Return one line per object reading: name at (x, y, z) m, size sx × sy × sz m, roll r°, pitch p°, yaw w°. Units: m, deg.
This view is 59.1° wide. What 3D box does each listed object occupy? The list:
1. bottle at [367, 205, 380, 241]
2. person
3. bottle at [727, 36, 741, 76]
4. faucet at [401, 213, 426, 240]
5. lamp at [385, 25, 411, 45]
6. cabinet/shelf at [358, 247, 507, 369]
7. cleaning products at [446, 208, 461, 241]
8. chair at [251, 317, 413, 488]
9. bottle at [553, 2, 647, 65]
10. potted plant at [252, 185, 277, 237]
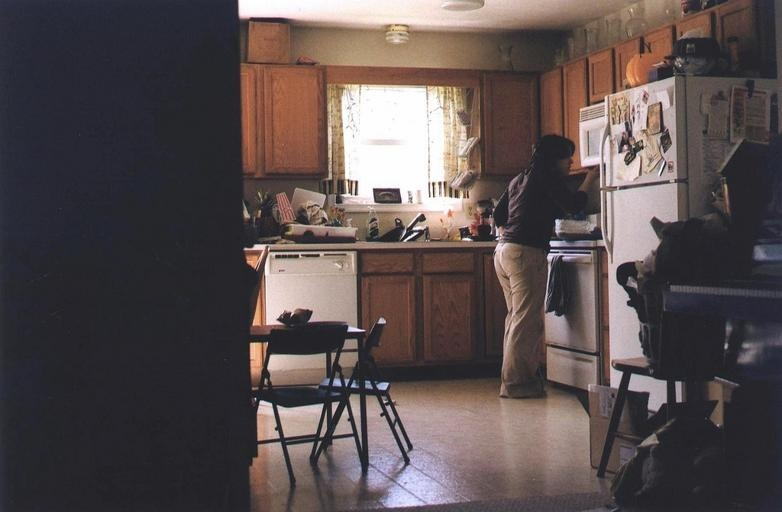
bottle at (-0.143, -0.283, 5.752) m, size 0.105 × 0.260 × 0.328 m, roll -1°, pitch 3°, yaw -1°
person at (0.992, 0.070, 4.594) m, size 0.600 × 1.733 × 0.504 m, roll 0°, pitch 2°, yaw 8°
bottle at (2.081, -1.242, 4.165) m, size 0.046 × 0.217 × 0.085 m, roll -1°, pitch 2°, yaw 2°
faucet at (0.190, -0.246, 5.584) m, size 0.181 × 0.207 × 0.373 m, roll 0°, pitch 3°, yaw 20°
lamp at (0.069, -1.912, 5.880) m, size 0.220 × 0.141 × 0.161 m, roll -1°, pitch 3°, yaw -2°
cabinet/shelf at (0.225, 0.327, 5.627) m, size 1.524 × 1.350 × 0.824 m, roll -1°, pitch -2°, yaw -8°
cleaning products at (0.541, -0.290, 5.923) m, size 0.109 × 0.258 × 0.242 m, roll -1°, pitch 3°, yaw 3°
chair at (-0.392, 0.623, 3.557) m, size 0.659 × 1.214 × 0.870 m, roll -1°, pitch 8°, yaw -19°
bottle at (1.698, -1.821, 5.528) m, size 0.252 × 0.309 × 0.833 m, roll -8°, pitch 6°, yaw -14°
potted plant at (-0.987, -0.353, 5.493) m, size 0.185 × 0.376 × 0.295 m, roll -1°, pitch 3°, yaw -11°
